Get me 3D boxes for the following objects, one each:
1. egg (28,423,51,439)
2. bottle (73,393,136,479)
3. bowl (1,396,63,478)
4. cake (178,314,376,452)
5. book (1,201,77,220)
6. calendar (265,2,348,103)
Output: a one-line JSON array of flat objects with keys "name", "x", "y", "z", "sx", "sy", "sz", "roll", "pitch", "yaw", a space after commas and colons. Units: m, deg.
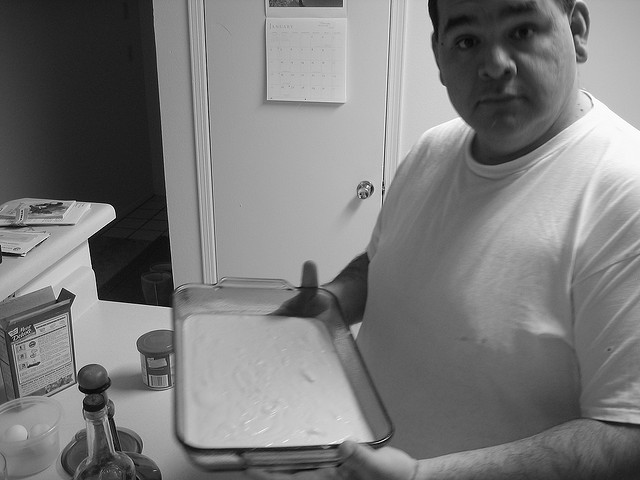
[{"name": "egg", "x": -0.532, "y": 0.363, "z": 0.980, "sx": 0.024, "sy": 0.023, "sz": 0.027, "roll": 3, "pitch": -17, "yaw": -9}, {"name": "bottle", "x": -0.355, "y": 0.313, "z": 0.830, "sx": 0.092, "sy": 0.171, "sz": 0.066, "roll": -4, "pitch": 17, "yaw": -13}, {"name": "bowl", "x": -0.594, "y": 0.395, "z": 1.030, "sx": 0.131, "sy": 0.072, "sz": 0.126, "roll": 2, "pitch": 23, "yaw": -1}, {"name": "cake", "x": -0.087, "y": 0.215, "z": 0.829, "sx": 0.267, "sy": 0.089, "sz": 0.316, "roll": -3, "pitch": 16, "yaw": -12}, {"name": "book", "x": -0.754, "y": -0.084, "z": 1.419, "sx": 0.118, "sy": 0.009, "sz": 0.080, "roll": 0, "pitch": 25, "yaw": 4}, {"name": "calendar", "x": -0.047, "y": -0.811, "z": 2.180, "sx": 0.414, "sy": 0.511, "sz": 0.027, "roll": 2, "pitch": 15, "yaw": 7}]
